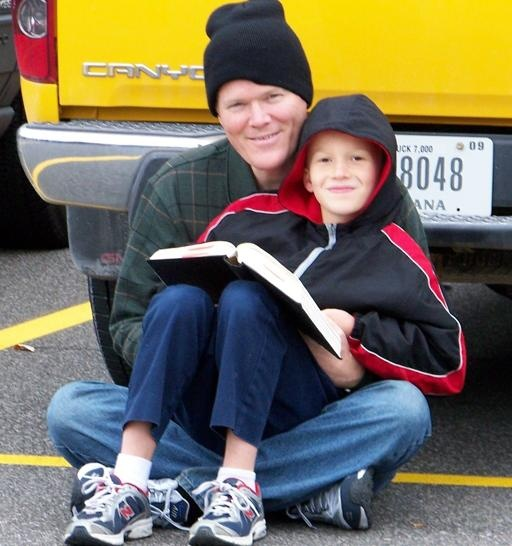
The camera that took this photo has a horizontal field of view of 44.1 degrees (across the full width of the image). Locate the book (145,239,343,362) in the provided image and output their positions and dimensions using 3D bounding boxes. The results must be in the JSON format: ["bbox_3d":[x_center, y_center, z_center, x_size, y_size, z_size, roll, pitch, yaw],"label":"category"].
[{"bbox_3d":[-0.042,0.047,1.407,0.496,0.227,0.213,3,2,43],"label":"book"}]

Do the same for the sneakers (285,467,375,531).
[{"bbox_3d":[0.155,0.542,1.571,0.282,0.101,0.124,-5,41,52],"label":"sneakers"}]
